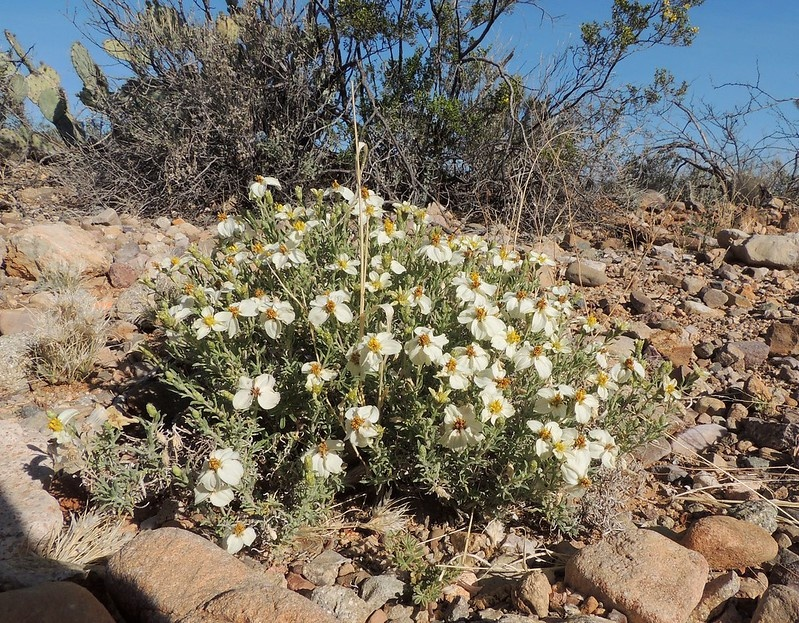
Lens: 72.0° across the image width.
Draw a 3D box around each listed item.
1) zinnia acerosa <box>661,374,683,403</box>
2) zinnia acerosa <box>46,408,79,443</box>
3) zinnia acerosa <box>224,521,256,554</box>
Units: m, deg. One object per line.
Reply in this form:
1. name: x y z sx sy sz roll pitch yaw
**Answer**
1. zinnia acerosa: 1.609 0.458 3.316 0.158 0.188 0.070 17 -12 -42
2. zinnia acerosa: -1.917 0.656 3.145 0.135 0.242 0.188 -1 14 -33
3. zinnia acerosa: -0.868 1.212 2.984 0.142 0.146 0.124 1 12 -24
